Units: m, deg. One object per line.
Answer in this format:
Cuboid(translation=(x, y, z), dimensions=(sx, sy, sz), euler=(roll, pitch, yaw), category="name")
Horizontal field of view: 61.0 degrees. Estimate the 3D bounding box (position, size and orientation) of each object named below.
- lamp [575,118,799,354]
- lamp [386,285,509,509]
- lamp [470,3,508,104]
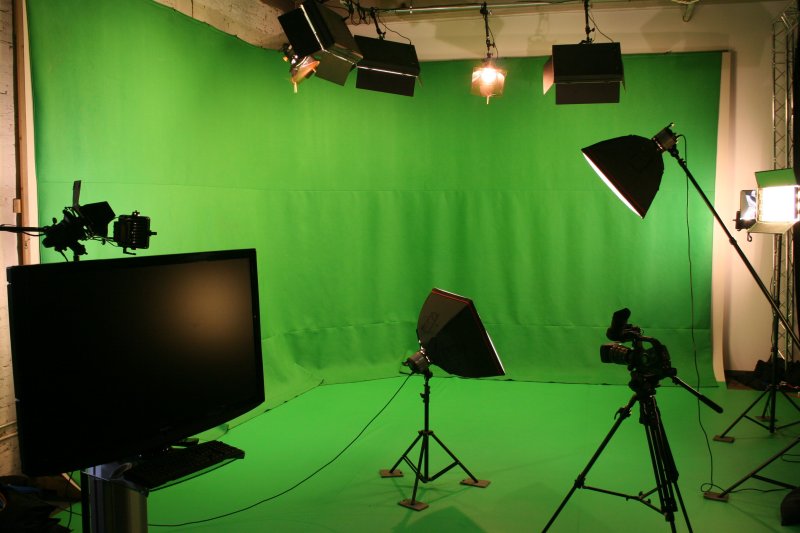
Cuboid(translation=(1.723, -0.435, 4.228), dimensions=(0.723, 0.940, 1.213), euler=(3, 5, 39), category="lamp")
Cuboid(translation=(0.263, 0.883, 4.676), dimensions=(0.696, 1.473, 0.987), euler=(-1, 4, -13), category="lamp")
Cuboid(translation=(0.821, -1.999, 6.244), dimensions=(0.324, 0.862, 0.809), euler=(1, 4, 7), category="lamp")
